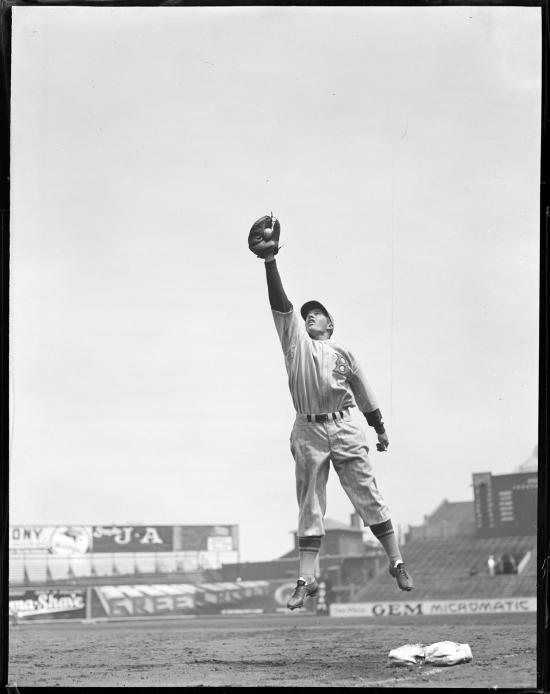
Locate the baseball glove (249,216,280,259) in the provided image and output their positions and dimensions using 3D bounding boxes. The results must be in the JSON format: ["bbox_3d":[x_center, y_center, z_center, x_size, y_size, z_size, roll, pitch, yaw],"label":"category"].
[{"bbox_3d":[-0.060,-0.390,6.387,0.090,0.060,0.122,18,-12,12],"label":"baseball glove"}]
